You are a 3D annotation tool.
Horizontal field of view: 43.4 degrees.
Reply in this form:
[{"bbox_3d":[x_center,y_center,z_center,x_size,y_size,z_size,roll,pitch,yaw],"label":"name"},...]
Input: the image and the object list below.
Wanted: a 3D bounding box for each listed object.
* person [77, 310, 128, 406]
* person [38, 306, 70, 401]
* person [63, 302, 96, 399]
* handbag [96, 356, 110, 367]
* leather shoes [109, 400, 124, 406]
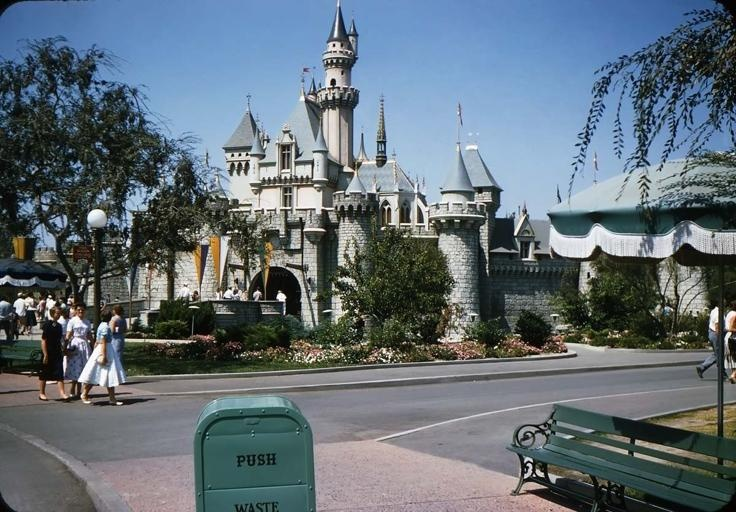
[{"bbox_3d":[-5.851,2.264,20.335,0.924,2.046,1.375,0,-4,-18],"label":"person"},{"bbox_3d":[-7.039,2.180,20.677,0.636,2.088,1.236,0,-4,-20],"label":"person"},{"bbox_3d":[-6.541,2.098,20.991,0.679,2.176,0.689,3,20,-5],"label":"person"},{"bbox_3d":[-5.692,2.280,19.939,0.289,0.178,0.133,-1,-4,-9],"label":"handbag"},{"bbox_3d":[-5.476,3.211,20.157,0.279,0.123,0.108,-5,-2,21],"label":"leather shoes"}]
